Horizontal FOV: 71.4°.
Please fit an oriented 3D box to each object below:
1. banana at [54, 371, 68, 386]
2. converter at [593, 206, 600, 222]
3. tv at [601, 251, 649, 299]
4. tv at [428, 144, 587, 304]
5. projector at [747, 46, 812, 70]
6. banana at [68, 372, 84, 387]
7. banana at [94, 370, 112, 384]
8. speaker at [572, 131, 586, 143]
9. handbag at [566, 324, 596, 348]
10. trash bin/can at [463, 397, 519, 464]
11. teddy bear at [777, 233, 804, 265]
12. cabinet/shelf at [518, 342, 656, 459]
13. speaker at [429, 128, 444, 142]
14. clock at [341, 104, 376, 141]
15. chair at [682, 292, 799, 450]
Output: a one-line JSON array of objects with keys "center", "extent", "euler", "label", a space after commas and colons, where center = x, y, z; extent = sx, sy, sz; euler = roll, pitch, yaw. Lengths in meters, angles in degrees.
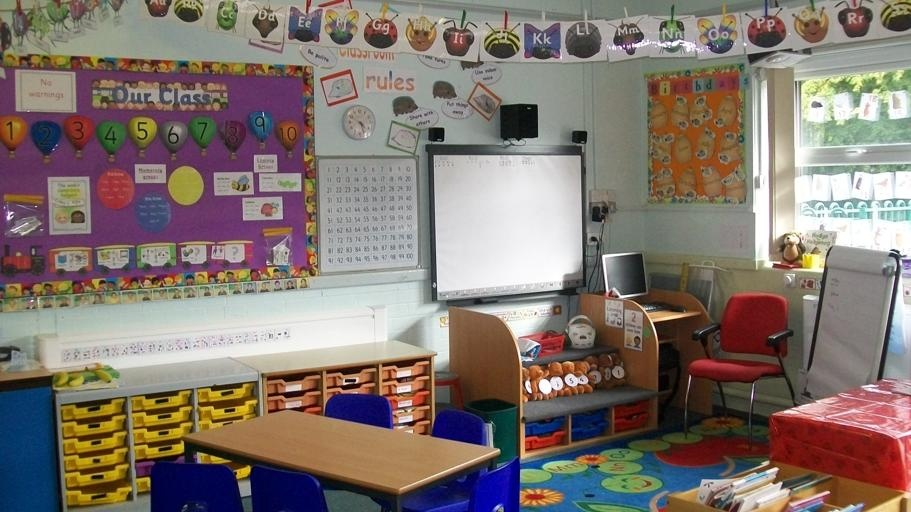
[{"center": [-3.404, 1.068, 5.470], "extent": [0.107, 0.032, 0.102], "euler": [-2, 19, -32], "label": "banana"}, {"center": [1.720, -0.516, 7.782], "extent": [0.098, 0.175, 0.053], "euler": [-1, 11, 15], "label": "converter"}, {"center": [1.986, 0.216, 7.527], "extent": [0.725, 0.477, 0.059], "euler": [-3, -4, -34], "label": "tv"}, {"center": [0.507, -0.377, 7.244], "extent": [2.023, 1.534, 0.187], "euler": [-5, 7, -23], "label": "tv"}, {"center": [2.634, -1.638, 5.267], "extent": [0.317, 0.083, 0.343], "euler": [-4, -3, 45], "label": "projector"}, {"center": [-3.285, 1.079, 5.491], "extent": [0.091, 0.047, 0.085], "euler": [2, 7, 7], "label": "banana"}, {"center": [-3.091, 1.058, 5.556], "extent": [0.153, 0.098, 0.096], "euler": [-4, 10, -7], "label": "banana"}, {"center": [1.511, -1.435, 7.664], "extent": [0.266, 0.149, 0.137], "euler": [-9, 11, -35], "label": "speaker"}, {"center": [1.435, 0.926, 7.271], "extent": [0.249, 0.290, 0.231], "euler": [-2, 23, -1], "label": "handbag"}, {"center": [0.362, 1.794, 6.387], "extent": [0.307, 0.328, 0.375], "euler": [-16, -27, 17], "label": "trash bin/can"}, {"center": [3.810, -0.083, 7.154], "extent": [0.303, 0.365, 0.292], "euler": [1, 5, -41], "label": "teddy bear"}, {"center": [1.400, 1.704, 6.970], "extent": [1.419, 0.455, 0.882], "euler": [-10, -2, -4], "label": "cabinet/shelf"}, {"center": [-0.223, -1.334, 6.951], "extent": [0.166, 0.138, 0.080], "euler": [-2, 4, -28], "label": "speaker"}, {"center": [-1.030, -1.413, 6.708], "extent": [0.072, 0.348, 0.386], "euler": [10, 13, 43], "label": "clock"}, {"center": [3.046, 1.139, 6.782], "extent": [1.017, 1.229, 0.973], "euler": [-11, 6, -41], "label": "chair"}]
